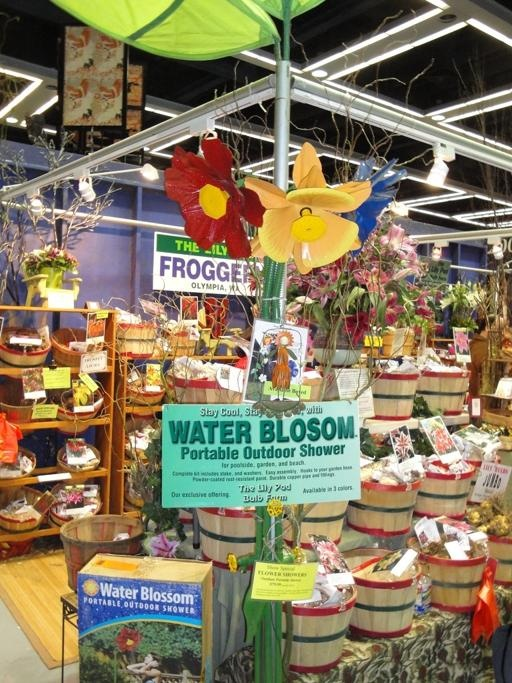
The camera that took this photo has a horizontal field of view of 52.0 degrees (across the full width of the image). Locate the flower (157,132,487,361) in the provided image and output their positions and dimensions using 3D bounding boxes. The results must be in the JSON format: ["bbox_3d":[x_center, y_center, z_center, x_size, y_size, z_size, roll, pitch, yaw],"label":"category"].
[{"bbox_3d":[0.041,-0.161,1.045,0.372,0.203,0.364,3,-12,3],"label":"flower"}]
